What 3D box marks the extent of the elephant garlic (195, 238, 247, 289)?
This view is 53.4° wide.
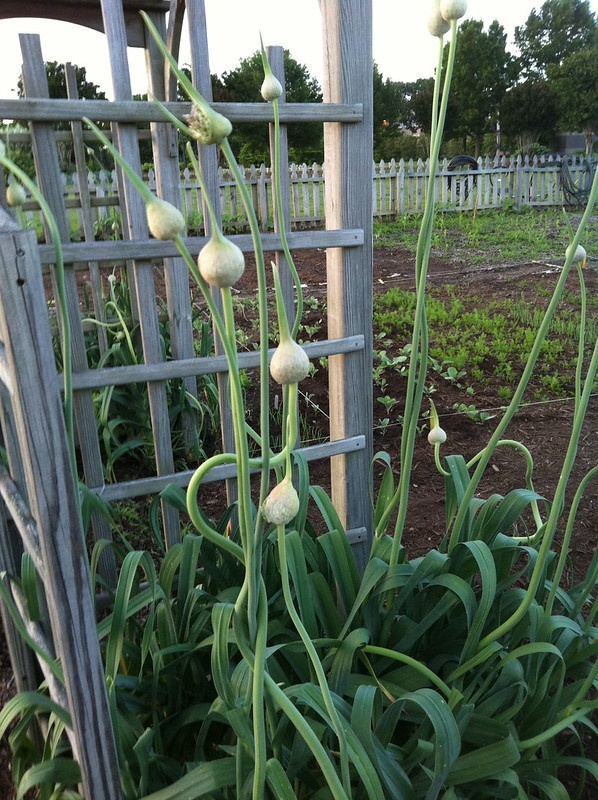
[{"bbox_3d":[-0.056,-0.107,0.443,0.027,0.043,0.029,-15,27,-16],"label":"elephant garlic"}]
